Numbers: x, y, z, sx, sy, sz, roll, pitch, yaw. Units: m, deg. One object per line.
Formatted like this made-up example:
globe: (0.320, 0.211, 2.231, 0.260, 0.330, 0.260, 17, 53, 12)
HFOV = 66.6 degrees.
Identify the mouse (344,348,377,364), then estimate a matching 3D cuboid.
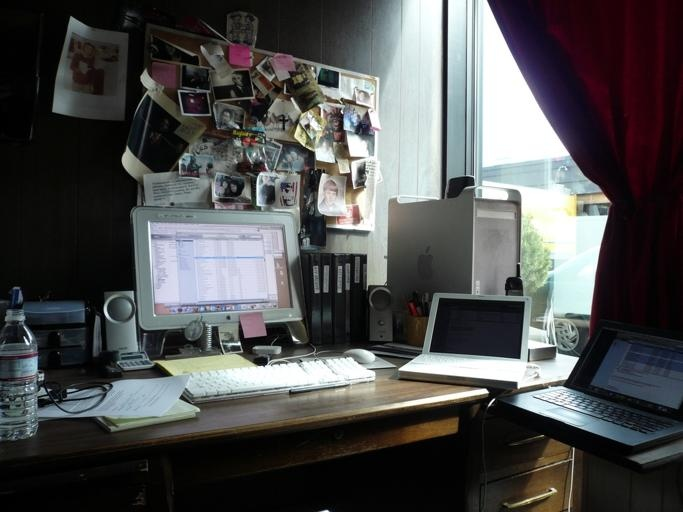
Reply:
mouse: (0.069, 0.315, 1.671, 0.075, 0.025, 0.043, 4, -3, 41)

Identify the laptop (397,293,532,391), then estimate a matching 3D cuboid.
laptop: (0.379, 0.255, 1.564, 0.356, 0.227, 0.389, -2, 8, 19)

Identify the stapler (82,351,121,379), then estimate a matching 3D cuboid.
stapler: (-0.693, 0.326, 1.533, 0.054, 0.071, 0.187, 5, -11, -25)

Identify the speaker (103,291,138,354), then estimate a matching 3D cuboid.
speaker: (-0.700, 0.206, 1.697, 0.110, 0.226, 0.125, 1, 14, -14)

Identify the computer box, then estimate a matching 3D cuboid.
computer box: (0.440, -0.016, 2.117, 0.297, 0.494, 0.511, 3, 0, -34)

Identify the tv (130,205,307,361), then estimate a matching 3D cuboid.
tv: (-0.436, 0.100, 1.773, 0.488, 0.426, 0.128, 1, -8, -29)
